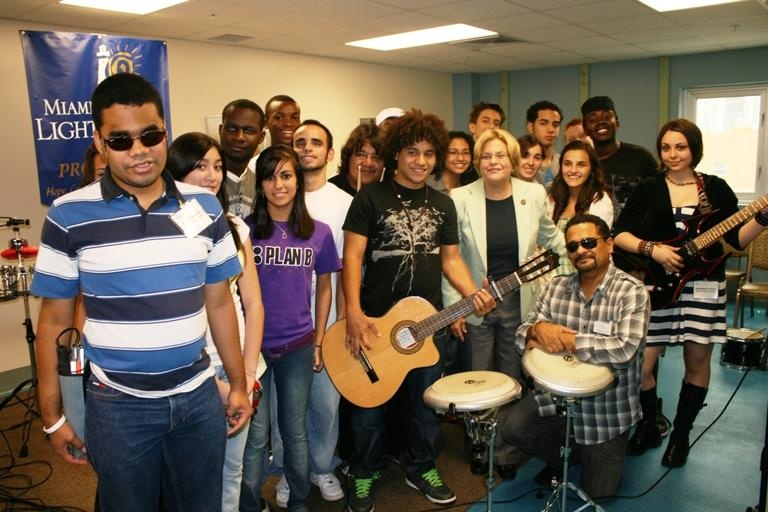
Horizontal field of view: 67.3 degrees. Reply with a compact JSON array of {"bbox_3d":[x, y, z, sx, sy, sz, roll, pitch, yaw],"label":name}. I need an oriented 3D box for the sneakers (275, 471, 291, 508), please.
[{"bbox_3d":[-0.724,1.725,4.292,0.106,0.130,0.301,3,13,-3],"label":"sneakers"}]

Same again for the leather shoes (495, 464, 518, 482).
[{"bbox_3d":[0.977,1.711,4.558,0.122,0.123,0.125,8,-16,10],"label":"leather shoes"}]

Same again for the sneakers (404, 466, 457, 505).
[{"bbox_3d":[0.358,1.707,4.395,0.164,0.225,0.474,-2,2,-41],"label":"sneakers"}]

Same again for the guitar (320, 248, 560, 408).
[{"bbox_3d":[0.449,0.474,4.489,2.078,0.816,0.240,-27,2,-4],"label":"guitar"}]

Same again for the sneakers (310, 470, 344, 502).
[{"bbox_3d":[-0.410,1.738,4.377,0.130,0.126,0.305,1,-2,-33],"label":"sneakers"}]
